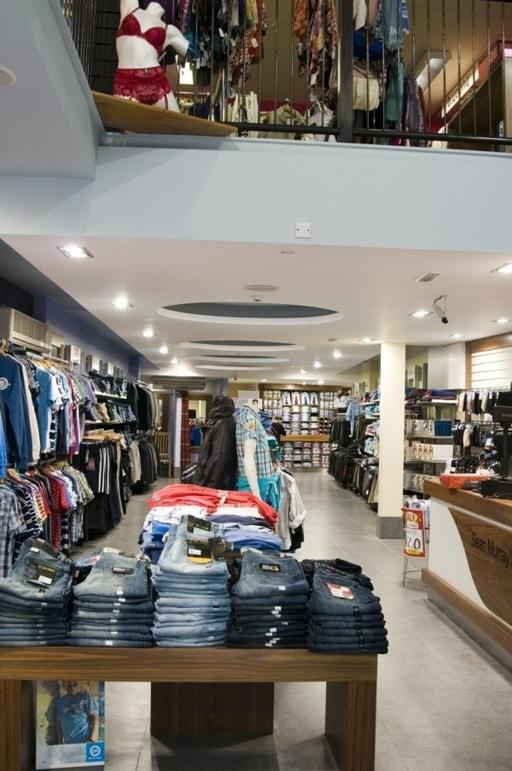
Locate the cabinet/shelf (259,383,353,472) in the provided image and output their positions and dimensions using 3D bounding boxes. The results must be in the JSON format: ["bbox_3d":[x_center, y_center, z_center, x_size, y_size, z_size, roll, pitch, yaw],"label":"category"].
[{"bbox_3d":[1.712,1.253,19.515,2.634,2.837,1.013,0,7,18],"label":"cabinet/shelf"}]

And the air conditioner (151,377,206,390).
[{"bbox_3d":[-2.330,-0.052,15.881,1.796,0.480,0.313,-2,7,-38],"label":"air conditioner"}]
